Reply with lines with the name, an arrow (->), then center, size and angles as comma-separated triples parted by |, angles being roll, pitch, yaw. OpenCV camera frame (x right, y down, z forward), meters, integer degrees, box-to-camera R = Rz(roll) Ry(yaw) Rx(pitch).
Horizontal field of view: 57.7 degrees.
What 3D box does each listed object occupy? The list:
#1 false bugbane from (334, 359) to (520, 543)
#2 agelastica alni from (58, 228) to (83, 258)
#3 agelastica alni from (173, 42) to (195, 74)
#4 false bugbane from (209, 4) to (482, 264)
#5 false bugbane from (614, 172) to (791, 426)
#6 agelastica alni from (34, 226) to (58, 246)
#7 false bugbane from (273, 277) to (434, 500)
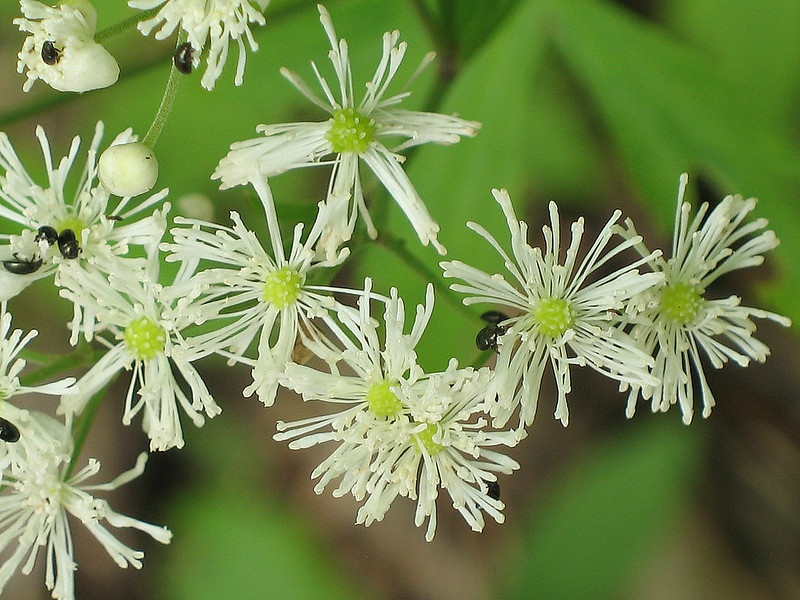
false bugbane -> 0.029, 0.158, 0.726 | 0.169, 0.186, 0.120 | -20, 30, -13
agelastica alni -> -0.351, -0.059, 0.765 | 0.021, 0.032, 0.009 | -12, 4, -32
agelastica alni -> -0.217, -0.243, 0.728 | 0.020, 0.032, 0.009 | 12, -4, -26
false bugbane -> -0.063, -0.154, 0.813 | 0.264, 0.282, 0.075 | -27, 4, -9
false bugbane -> 0.313, 0.004, 0.841 | 0.228, 0.278, 0.069 | 13, -1, -17
agelastica alni -> -0.373, -0.069, 0.764 | 0.017, 0.023, 0.011 | 11, 11, -25
false bugbane -> -0.035, 0.085, 0.736 | 0.173, 0.223, 0.055 | -1, 0, 15
